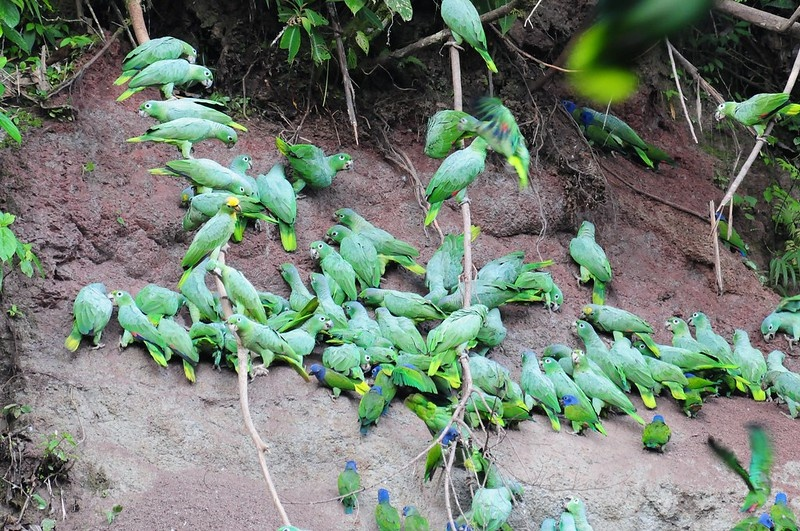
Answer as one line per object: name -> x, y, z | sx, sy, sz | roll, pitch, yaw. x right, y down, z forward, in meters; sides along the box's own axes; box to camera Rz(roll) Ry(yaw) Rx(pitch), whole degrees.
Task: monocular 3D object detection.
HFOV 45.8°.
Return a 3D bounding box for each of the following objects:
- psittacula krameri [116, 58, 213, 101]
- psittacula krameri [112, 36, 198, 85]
psittacula krameri -> -2.375, -1.825, 9.616 | 0.927, 0.498, 0.419 | 2, 6, -25
psittacula krameri -> -2.455, -2.100, 9.691 | 0.914, 0.496, 0.413 | -13, 21, -27
